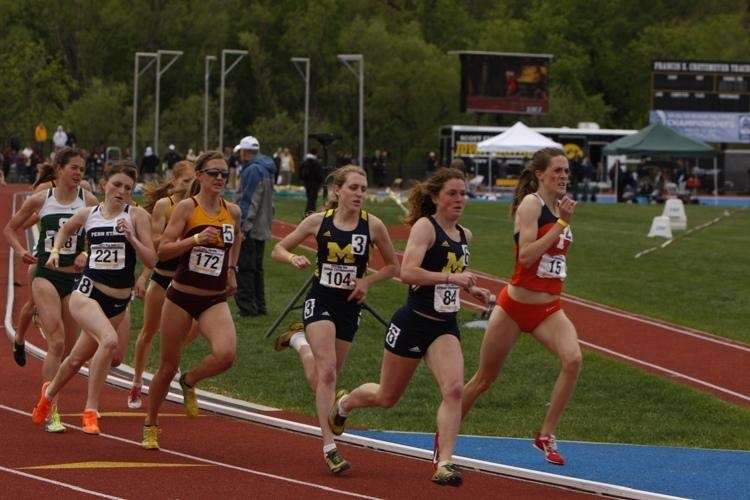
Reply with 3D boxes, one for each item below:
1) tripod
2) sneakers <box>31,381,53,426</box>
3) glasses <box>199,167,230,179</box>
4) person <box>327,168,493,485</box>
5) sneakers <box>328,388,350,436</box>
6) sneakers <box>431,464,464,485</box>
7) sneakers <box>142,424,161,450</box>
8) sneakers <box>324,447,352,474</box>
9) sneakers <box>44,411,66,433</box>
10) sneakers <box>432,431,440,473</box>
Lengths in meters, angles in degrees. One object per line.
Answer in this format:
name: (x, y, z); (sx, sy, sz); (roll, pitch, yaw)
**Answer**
tripod: (-0.755, 0.868, 12.606); (1.262, 2.123, 1.468); (9, 2, 44)
sneakers: (-3.631, 1.693, 9.112); (0.178, 0.479, 0.172); (22, 10, 33)
glasses: (-1.589, -0.776, 8.405); (0.298, 0.103, 0.204); (-2, 6, -25)
person: (0.415, 0.684, 7.911); (1.253, 2.924, 1.110); (2, 5, 13)
sneakers: (-0.363, 1.602, 8.137); (0.161, 0.444, 0.179); (-4, 12, -34)
sneakers: (0.659, 2.040, 7.502); (0.255, 0.245, 0.237); (1, 5, 6)
sneakers: (-2.235, 1.892, 8.372); (0.127, 0.151, 0.341); (2, 0, -17)
sneakers: (-0.354, 1.985, 7.877); (0.144, 0.151, 0.338); (-33, 16, -14)
sneakers: (-3.362, 1.829, 8.777); (0.289, 0.290, 0.147); (-5, -10, 31)
sneakers: (0.584, 1.907, 7.887); (0.119, 0.374, 0.144); (1, 10, 1)
